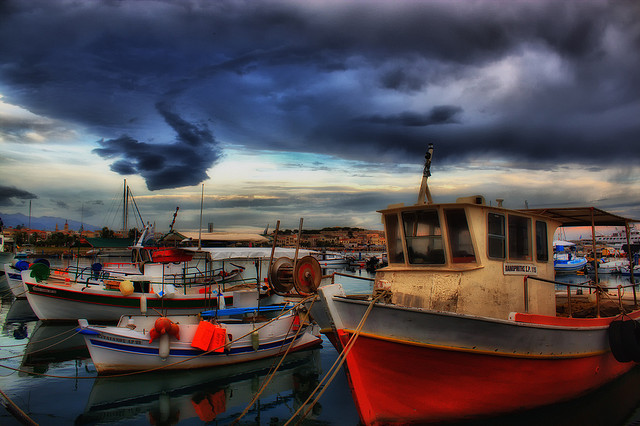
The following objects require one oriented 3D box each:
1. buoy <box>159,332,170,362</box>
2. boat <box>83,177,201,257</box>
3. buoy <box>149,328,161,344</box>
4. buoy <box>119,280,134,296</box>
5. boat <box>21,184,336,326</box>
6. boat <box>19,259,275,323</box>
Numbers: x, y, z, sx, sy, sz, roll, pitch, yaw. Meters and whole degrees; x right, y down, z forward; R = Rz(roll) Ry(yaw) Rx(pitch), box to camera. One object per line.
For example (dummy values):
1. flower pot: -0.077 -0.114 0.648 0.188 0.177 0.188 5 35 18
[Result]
1. buoy: -5.534 4.711 14.511 0.329 0.941 0.194 0 0 -9
2. boat: -15.883 0.218 34.217 5.722 6.160 16.715 2 -9 -27
3. buoy: -5.824 4.304 14.454 0.455 0.477 0.171 0 0 22
4. buoy: -9.521 3.686 20.134 0.586 0.676 0.812 1 -1 -23
5. boat: -7.510 4.146 22.869 15.436 3.382 4.296 6 -5 -14
6. boat: -8.620 4.316 22.213 12.711 2.216 3.449 7 0 -30
